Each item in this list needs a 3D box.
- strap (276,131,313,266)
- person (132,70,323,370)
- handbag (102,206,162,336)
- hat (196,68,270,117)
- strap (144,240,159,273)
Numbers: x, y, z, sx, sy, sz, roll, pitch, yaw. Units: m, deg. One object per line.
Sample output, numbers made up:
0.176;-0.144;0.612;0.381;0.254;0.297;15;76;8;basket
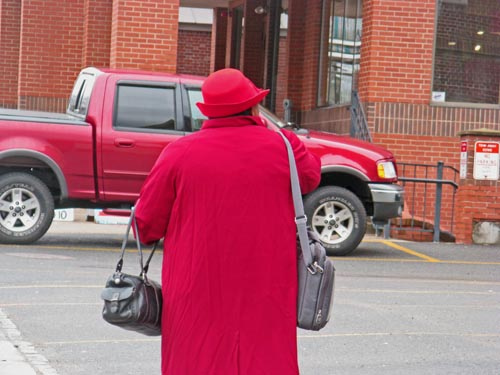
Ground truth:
0.407;0.126;9.113;0.381;1.113;0.104;11;12;42;strap
-0.217;0.309;9.015;1.350;2.591;0.625;1;9;-6;person
-1.027;0.794;9.156;0.515;1.209;0.440;1;9;-10;handbag
-0.187;-0.811;9.058;0.424;0.184;0.493;-7;23;30;hat
-0.871;0.626;9.249;0.073;0.350;0.083;33;22;27;strap
